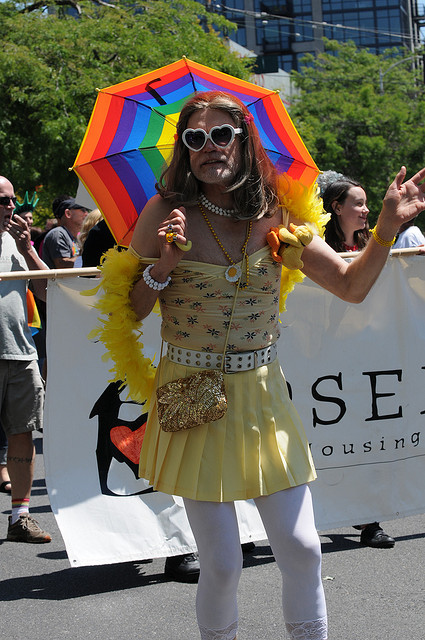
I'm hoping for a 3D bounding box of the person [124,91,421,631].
[{"bbox_3d":[0.087,0.225,2.545,0.916,1.465,1.272,-4,1,-24],"label":"person"}]

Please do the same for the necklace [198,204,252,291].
[{"bbox_3d":[0.051,-0.221,2.135,0.160,0.247,0.151,-3,13,-24],"label":"necklace"}]

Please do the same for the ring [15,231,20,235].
[{"bbox_3d":[-1.112,-0.497,4.048,0.023,0.017,0.008,-3,1,-3],"label":"ring"}]

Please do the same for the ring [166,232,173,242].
[{"bbox_3d":[-0.118,-0.229,1.961,0.018,0.022,0.028,-4,1,-4],"label":"ring"}]

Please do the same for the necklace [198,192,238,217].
[{"bbox_3d":[0.010,-0.347,2.140,0.075,0.016,0.066,26,4,23],"label":"necklace"}]

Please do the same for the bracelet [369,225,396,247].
[{"bbox_3d":[0.532,-0.265,2.255,0.080,0.017,0.069,-1,41,-31],"label":"bracelet"}]

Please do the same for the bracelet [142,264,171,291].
[{"bbox_3d":[-0.171,-0.122,2.049,0.078,0.072,0.032,-2,3,9],"label":"bracelet"}]

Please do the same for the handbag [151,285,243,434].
[{"bbox_3d":[-0.088,0.122,2.131,0.331,0.368,0.185,-3,2,42],"label":"handbag"}]

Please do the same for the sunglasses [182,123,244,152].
[{"bbox_3d":[-0.010,-0.539,2.096,0.220,0.121,0.080,0,9,6],"label":"sunglasses"}]

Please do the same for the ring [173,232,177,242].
[{"bbox_3d":[-0.103,-0.228,1.955,0.008,0.017,0.018,-8,17,-13],"label":"ring"}]
